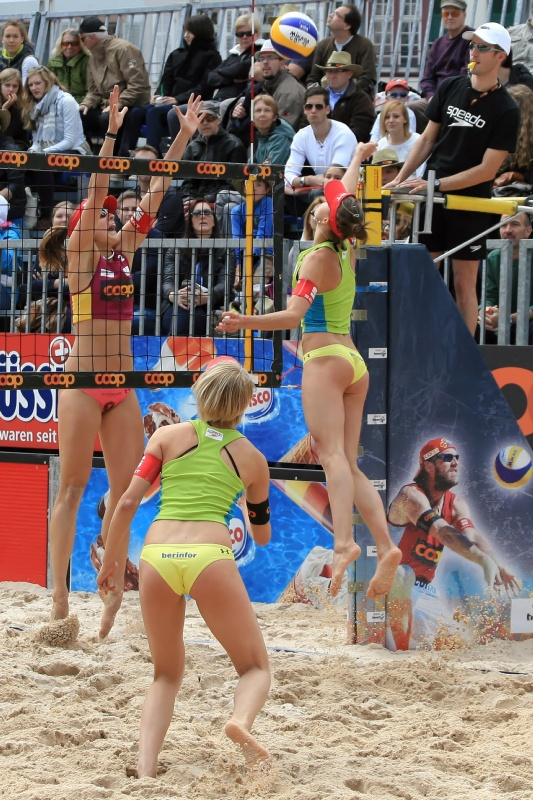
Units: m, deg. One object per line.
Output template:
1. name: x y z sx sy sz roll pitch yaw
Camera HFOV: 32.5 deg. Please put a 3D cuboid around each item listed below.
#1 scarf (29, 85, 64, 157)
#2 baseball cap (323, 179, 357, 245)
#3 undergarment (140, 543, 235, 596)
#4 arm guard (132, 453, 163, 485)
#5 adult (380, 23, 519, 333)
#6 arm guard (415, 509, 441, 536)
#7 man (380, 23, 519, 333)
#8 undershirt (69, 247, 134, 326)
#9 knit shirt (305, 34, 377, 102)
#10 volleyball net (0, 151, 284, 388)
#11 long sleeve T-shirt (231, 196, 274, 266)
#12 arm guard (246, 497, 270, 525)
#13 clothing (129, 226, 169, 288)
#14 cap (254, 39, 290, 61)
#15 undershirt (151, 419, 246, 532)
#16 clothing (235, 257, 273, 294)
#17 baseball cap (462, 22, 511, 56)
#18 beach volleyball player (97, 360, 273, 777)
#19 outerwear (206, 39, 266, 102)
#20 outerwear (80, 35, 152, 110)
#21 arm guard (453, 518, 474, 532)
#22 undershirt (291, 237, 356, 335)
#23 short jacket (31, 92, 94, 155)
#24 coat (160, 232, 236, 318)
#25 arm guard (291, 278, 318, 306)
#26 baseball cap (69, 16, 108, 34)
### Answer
1. scarf: -2.208 -2.842 9.012 0.283 0.144 0.858 12 -32 -4
2. baseball cap: 0.314 -0.848 3.977 0.062 0.231 0.144 -5 9 -23
3. undergarment: -0.244 0.535 2.945 0.320 0.167 0.273 -4 3 -12
4. arm guard: -0.387 0.227 3.091 0.097 0.097 0.091 26 -3 4
5. adult: 1.160 -1.350 5.629 0.683 1.847 0.684 2 6 -13
6. arm guard: 0.858 0.655 4.958 0.108 0.122 0.124 11 -41 -9
7. man: 1.160 -1.350 5.629 0.683 1.847 0.684 2 6 -13
8. undershirt: -0.753 -0.553 4.352 0.271 0.381 0.226 -1 1 -44
9. knit shirt: 0.659 -2.967 8.217 0.585 0.730 0.406 4 2 3
10. volleyball net: -0.683 -0.702 5.183 1.954 1.348 0.048 -1 5 -5
11. long sleeve T-shirt: -0.121 -1.165 6.051 0.241 0.671 0.336 -1 -38 8
12. arm guard: -0.028 0.398 3.262 0.089 0.093 0.087 -7 7 19
13. clothing: -0.792 -0.909 6.060 0.160 0.474 0.359 9 6 1
14. cap: 0.076 -3.192 8.241 0.245 0.092 0.235 2 3 -8
15. undershirt: -0.211 0.246 3.063 0.271 0.393 0.221 11 2 9
16. clothing: -0.070 -0.779 5.675 0.241 0.336 0.178 -4 -4 -4
17. baseball cap: 1.336 -2.194 5.464 0.210 0.242 0.315 5 5 17
18. beach volleyball player: -0.233 0.581 3.070 0.677 1.432 0.490 6 6 29
19. outerwear: -0.284 -3.196 8.849 0.459 0.585 0.322 11 -12 32
20. outerwear: -1.633 -3.521 9.749 0.809 0.770 0.688 16 33 42
21. arm guard: 1.071 0.675 4.925 0.083 0.064 0.084 -1 -9 -1
22. undershirt: 0.262 -0.528 4.176 0.252 0.481 0.315 7 21 27
23. short jacket: -2.117 -2.743 9.098 0.670 0.703 0.567 -13 20 -39
24. coat: -0.455 -0.768 5.917 0.370 0.506 0.189 2 -1 4
25. arm guard: 0.171 -0.458 3.886 0.109 0.109 0.107 10 5 6
26. baseball cap: -1.873 -3.976 9.700 0.269 0.190 0.157 17 -38 15
